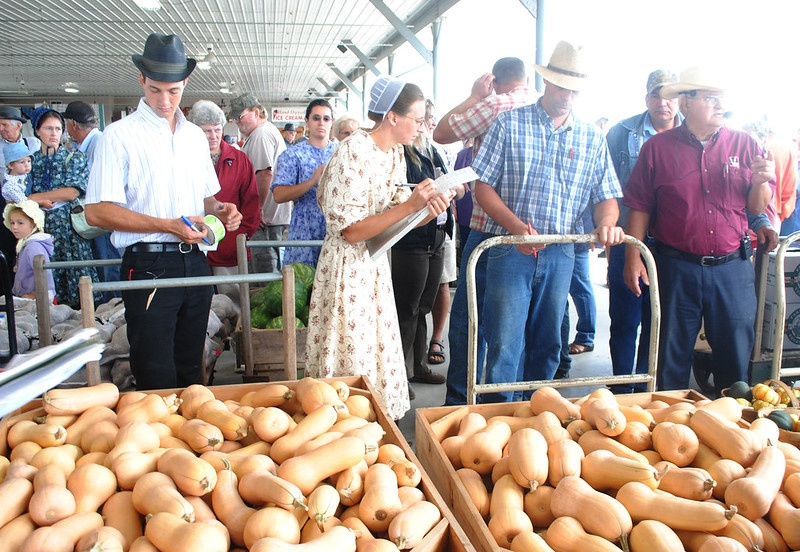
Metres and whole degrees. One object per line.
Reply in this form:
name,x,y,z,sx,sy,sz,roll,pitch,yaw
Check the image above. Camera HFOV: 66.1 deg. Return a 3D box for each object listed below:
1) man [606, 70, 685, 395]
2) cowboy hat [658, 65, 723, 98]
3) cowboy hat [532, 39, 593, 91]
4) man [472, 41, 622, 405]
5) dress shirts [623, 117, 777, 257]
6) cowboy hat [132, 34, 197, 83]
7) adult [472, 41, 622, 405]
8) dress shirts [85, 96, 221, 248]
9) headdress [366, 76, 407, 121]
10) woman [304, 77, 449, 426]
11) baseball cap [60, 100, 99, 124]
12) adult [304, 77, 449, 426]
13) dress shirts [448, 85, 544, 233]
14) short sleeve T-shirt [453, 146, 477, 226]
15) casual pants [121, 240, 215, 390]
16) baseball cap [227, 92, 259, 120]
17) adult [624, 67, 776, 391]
man,1.972,-0.320,4.784,0.680,2.405,0.646,2,-5,8
cowboy hat,1.840,-1.202,3.863,0.225,0.093,0.203,-2,6,43
cowboy hat,1.000,-1.261,3.670,0.350,0.207,0.393,12,23,2
man,0.921,-0.177,3.958,0.953,2.512,0.811,3,20,4
dress shirts,2.003,-0.580,4.101,0.924,0.835,0.488,3,13,13
cowboy hat,-1.297,-1.216,3.356,0.248,0.136,0.329,1,34,-32
adult,0.868,-0.153,3.882,0.992,2.493,0.928,4,16,6
dress shirts,-1.347,-0.632,3.473,0.236,0.783,0.724,1,-1,44
headdress,-0.089,-0.962,3.448,0.067,0.250,0.183,11,48,-41
woman,-0.218,-0.033,3.785,0.771,2.214,0.747,-6,33,-17
baseball cap,-3.433,-1.762,6.574,0.321,0.190,0.226,37,37,8
adult,-0.092,0.019,3.726,0.850,2.282,0.785,4,24,14
dress shirts,0.653,-0.789,4.094,0.398,0.622,1.399,7,22,-17
short sleeve T-shirt,0.643,-1.004,5.967,0.220,0.216,0.750,-17,40,23
casual pants,-1.330,0.318,3.637,0.348,1.100,0.477,21,28,35
baseball cap,-1.677,-1.754,6.506,0.331,0.179,0.226,-20,35,-4
adult,1.961,-0.075,4.087,0.929,2.557,0.873,4,14,35
